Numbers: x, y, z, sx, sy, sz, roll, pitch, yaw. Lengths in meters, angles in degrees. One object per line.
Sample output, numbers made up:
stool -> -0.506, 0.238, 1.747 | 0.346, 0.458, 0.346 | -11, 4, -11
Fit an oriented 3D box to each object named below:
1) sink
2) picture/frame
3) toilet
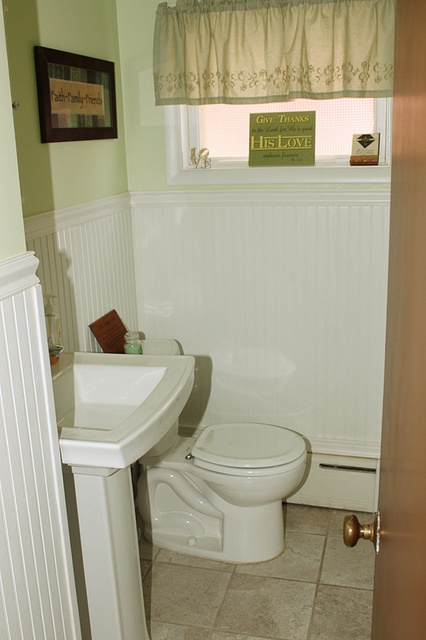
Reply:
sink -> -0.357, 0.280, 1.590 | 0.509, 0.207, 0.568 | 2, 14, 17
picture/frame -> -0.555, -0.923, 2.007 | 0.020, 0.324, 0.517 | 10, 24, 19
toilet -> 0.022, 0.608, 2.685 | 1.027, 1.325, 0.611 | 1, 19, 7
